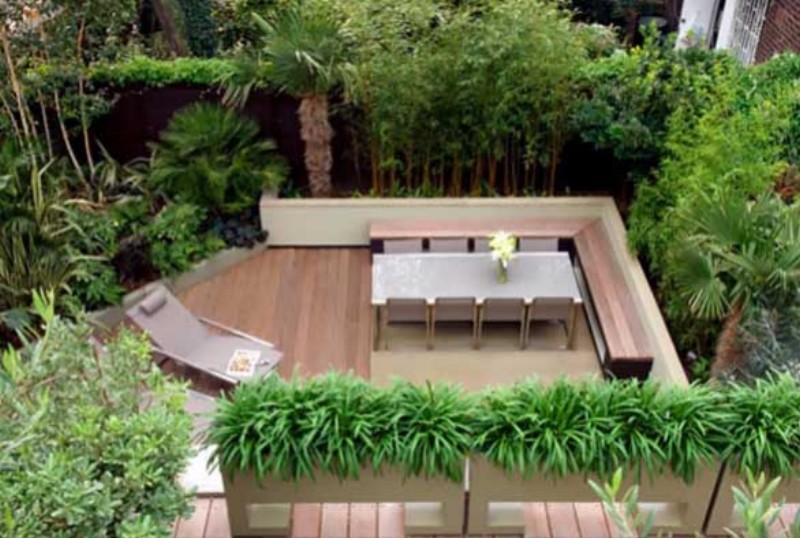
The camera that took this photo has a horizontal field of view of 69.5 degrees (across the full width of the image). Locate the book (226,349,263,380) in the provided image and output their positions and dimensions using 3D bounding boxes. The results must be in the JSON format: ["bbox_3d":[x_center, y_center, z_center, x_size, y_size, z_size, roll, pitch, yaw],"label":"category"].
[{"bbox_3d":[-1.811,1.110,6.696,0.350,0.065,0.432,8,41,3],"label":"book"}]

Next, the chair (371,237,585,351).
[{"bbox_3d":[0.963,0.414,7.554,2.590,1.045,0.884,1,22,0],"label":"chair"}]
